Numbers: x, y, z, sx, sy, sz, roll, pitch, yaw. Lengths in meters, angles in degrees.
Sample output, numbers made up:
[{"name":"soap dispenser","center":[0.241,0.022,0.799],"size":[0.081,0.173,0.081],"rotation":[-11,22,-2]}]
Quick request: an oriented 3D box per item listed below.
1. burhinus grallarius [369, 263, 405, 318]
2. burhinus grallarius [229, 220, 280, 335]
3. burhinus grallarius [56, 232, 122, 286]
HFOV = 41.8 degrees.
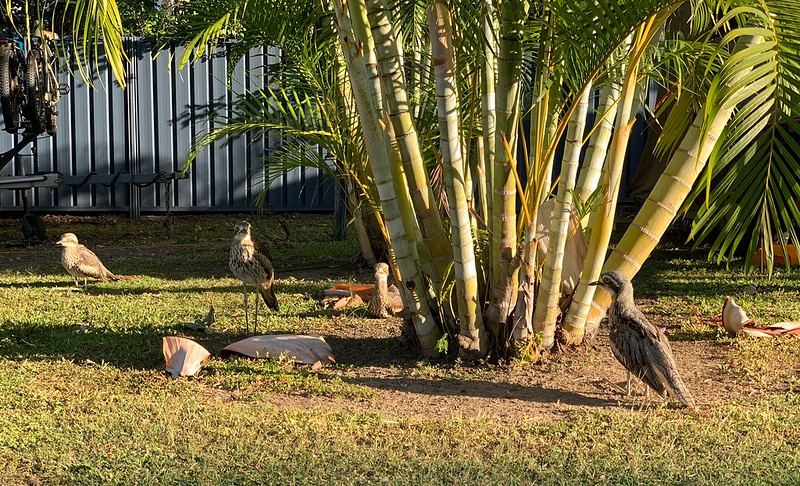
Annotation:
[{"name":"burhinus grallarius","center":[-0.122,0.521,11.861],"size":[0.393,0.623,0.986],"rotation":[2,1,14]},{"name":"burhinus grallarius","center":[-1.594,0.316,11.309],"size":[0.516,1.110,1.122],"rotation":[-2,9,-7]},{"name":"burhinus grallarius","center":[-3.794,0.228,12.681],"size":[0.349,0.680,1.029],"rotation":[19,12,38]}]
